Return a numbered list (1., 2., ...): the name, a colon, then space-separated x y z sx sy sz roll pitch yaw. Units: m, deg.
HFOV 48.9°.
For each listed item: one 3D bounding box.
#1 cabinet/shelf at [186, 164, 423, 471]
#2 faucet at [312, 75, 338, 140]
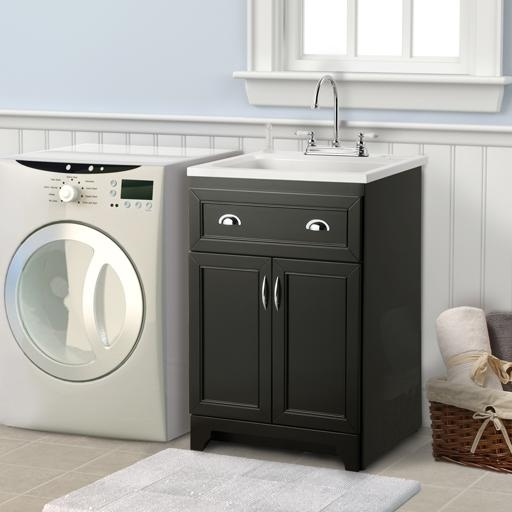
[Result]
1. cabinet/shelf: 0.171 0.152 1.928 0.669 1.008 0.620 -1 -2 27
2. faucet: 0.254 -0.538 2.073 0.091 0.272 0.196 0 -2 8
